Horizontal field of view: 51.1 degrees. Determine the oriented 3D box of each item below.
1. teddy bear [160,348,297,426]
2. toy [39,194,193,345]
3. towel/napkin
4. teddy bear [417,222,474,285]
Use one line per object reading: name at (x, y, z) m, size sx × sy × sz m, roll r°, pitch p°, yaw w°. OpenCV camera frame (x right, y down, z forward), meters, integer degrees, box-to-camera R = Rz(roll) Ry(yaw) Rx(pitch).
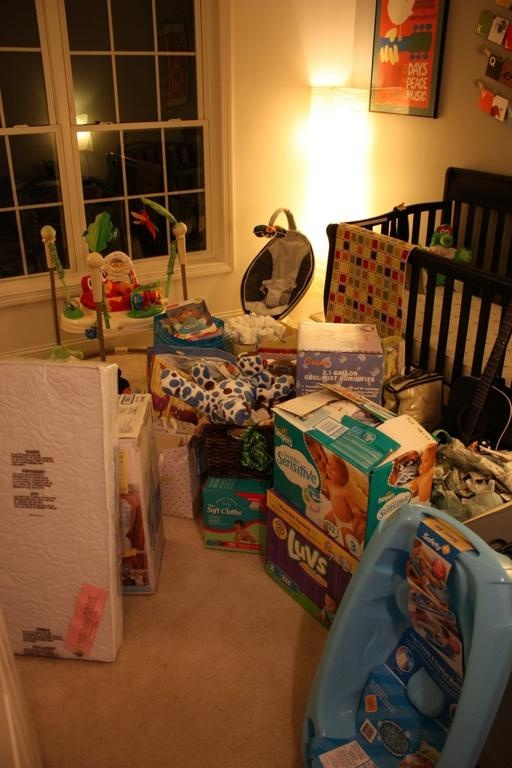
teddy bear at (-0.096, 0.031, 2.149) m, size 0.489 × 0.151 × 0.558 m, roll 0°, pitch 23°, yaw -12°
toy at (-0.919, -0.548, 3.290) m, size 0.618 × 0.926 × 0.675 m, roll -14°, pitch 31°, yaw -43°
towel/napkin at (0.616, -0.530, 2.770) m, size 0.081 × 0.652 × 0.631 m, roll -13°, pitch 34°, yaw -27°
teddy bear at (1.177, -0.817, 3.417) m, size 0.429 × 0.365 × 0.284 m, roll 0°, pitch -3°, yaw -6°
